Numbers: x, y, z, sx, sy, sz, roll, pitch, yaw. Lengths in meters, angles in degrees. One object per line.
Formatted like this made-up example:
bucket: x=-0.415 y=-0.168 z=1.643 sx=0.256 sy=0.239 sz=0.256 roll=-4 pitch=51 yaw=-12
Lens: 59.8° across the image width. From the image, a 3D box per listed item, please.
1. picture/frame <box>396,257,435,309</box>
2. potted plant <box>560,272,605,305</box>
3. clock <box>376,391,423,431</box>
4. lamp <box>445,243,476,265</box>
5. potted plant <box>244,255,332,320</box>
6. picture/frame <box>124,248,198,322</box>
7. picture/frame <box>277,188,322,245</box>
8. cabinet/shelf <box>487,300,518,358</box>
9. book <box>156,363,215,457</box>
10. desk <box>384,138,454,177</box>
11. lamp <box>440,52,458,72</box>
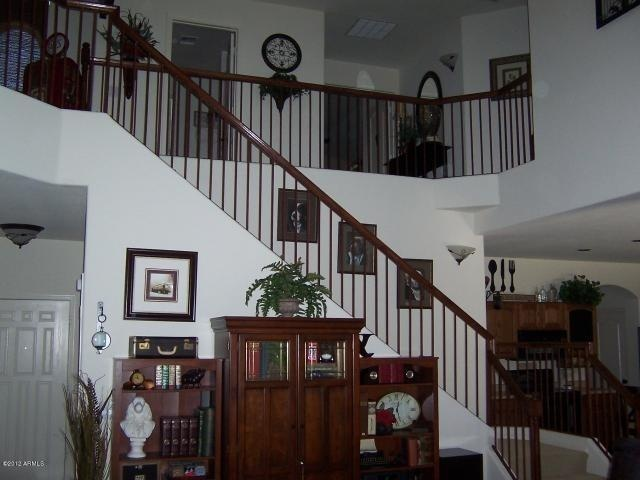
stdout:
picture/frame: x=1.251 y=0.598 z=7.421 sx=0.646 sy=0.953 sz=0.060 roll=1 pitch=-3 yaw=-31
potted plant: x=5.160 y=0.995 z=11.060 sx=0.636 sy=0.572 sz=0.641 roll=4 pitch=-1 yaw=3
clock: x=0.821 y=1.822 z=5.868 sx=0.302 sy=0.368 sz=0.052 roll=-1 pitch=-2 yaw=-12
lamp: x=2.138 y=0.221 z=8.249 sx=0.518 sy=0.286 sz=0.258 roll=3 pitch=-6 yaw=-34
potted plant: x=-0.340 y=0.548 z=5.692 sx=0.642 sy=0.567 sz=0.650 roll=-7 pitch=-12 yaw=32
picture/frame: x=-1.681 y=0.486 z=5.731 sx=0.595 sy=0.750 sz=0.049 roll=2 pitch=-5 yaw=-18
picture/frame: x=-0.289 y=-0.290 z=7.110 sx=0.576 sy=0.871 sz=0.056 roll=3 pitch=-7 yaw=-20
cabinet/shelf: x=3.324 y=1.642 z=10.153 sx=0.500 sy=1.018 sz=0.543 roll=-2 pitch=-5 yaw=20
book: x=-1.294 y=1.634 z=5.304 sx=0.647 sy=1.111 sz=0.351 roll=1 pitch=-8 yaw=-12
desk: x=1.635 y=-1.340 z=9.156 sx=0.515 sy=0.484 sz=1.322 roll=6 pitch=-9 yaw=-21
lamp: x=2.311 y=-3.180 z=10.082 sx=0.197 sy=0.337 sz=0.480 roll=1 pitch=-5 yaw=-13
